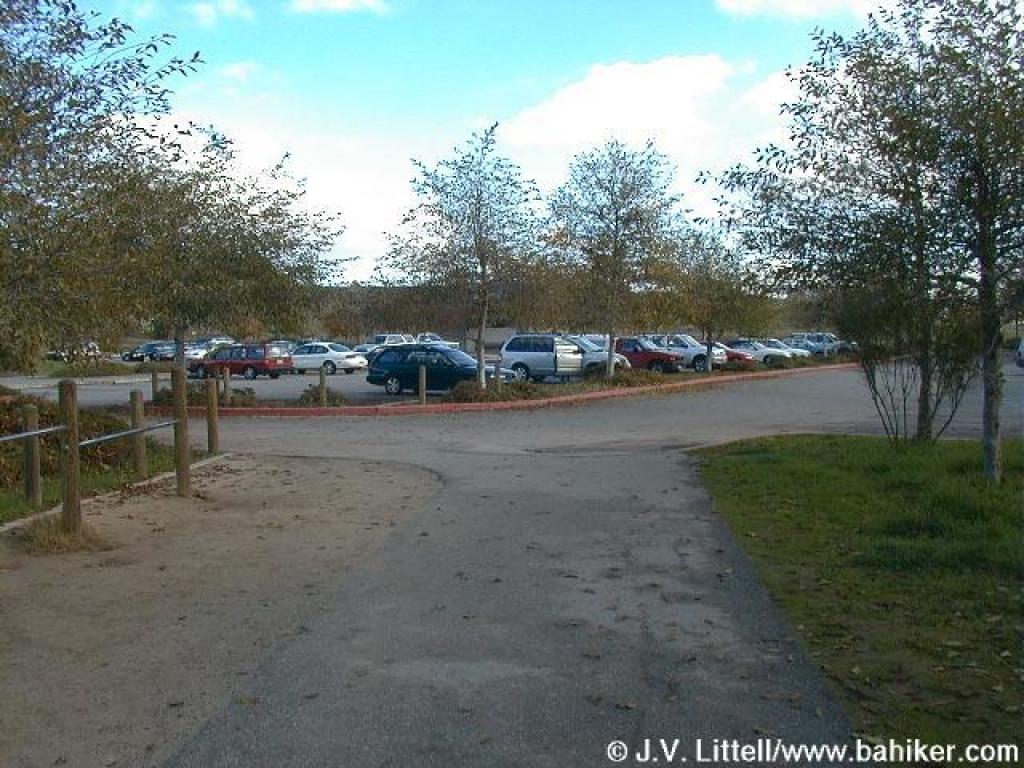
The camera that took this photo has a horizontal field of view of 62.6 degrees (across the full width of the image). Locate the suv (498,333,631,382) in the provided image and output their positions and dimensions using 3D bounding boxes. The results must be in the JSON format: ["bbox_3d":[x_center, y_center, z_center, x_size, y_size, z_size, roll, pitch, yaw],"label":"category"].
[{"bbox_3d":[1.523,-1.052,33.700,4.028,1.868,2.169,0,5,-9],"label":"suv"}]

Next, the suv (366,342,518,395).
[{"bbox_3d":[-2.738,-0.591,28.161,4.531,1.664,2.037,-2,2,27],"label":"suv"}]

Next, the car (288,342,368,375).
[{"bbox_3d":[-9.960,-1.343,45.249,3.592,1.633,1.635,1,5,3],"label":"car"}]

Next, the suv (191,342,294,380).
[{"bbox_3d":[-12.791,-1.101,40.430,4.214,1.702,2.318,4,2,10],"label":"suv"}]
